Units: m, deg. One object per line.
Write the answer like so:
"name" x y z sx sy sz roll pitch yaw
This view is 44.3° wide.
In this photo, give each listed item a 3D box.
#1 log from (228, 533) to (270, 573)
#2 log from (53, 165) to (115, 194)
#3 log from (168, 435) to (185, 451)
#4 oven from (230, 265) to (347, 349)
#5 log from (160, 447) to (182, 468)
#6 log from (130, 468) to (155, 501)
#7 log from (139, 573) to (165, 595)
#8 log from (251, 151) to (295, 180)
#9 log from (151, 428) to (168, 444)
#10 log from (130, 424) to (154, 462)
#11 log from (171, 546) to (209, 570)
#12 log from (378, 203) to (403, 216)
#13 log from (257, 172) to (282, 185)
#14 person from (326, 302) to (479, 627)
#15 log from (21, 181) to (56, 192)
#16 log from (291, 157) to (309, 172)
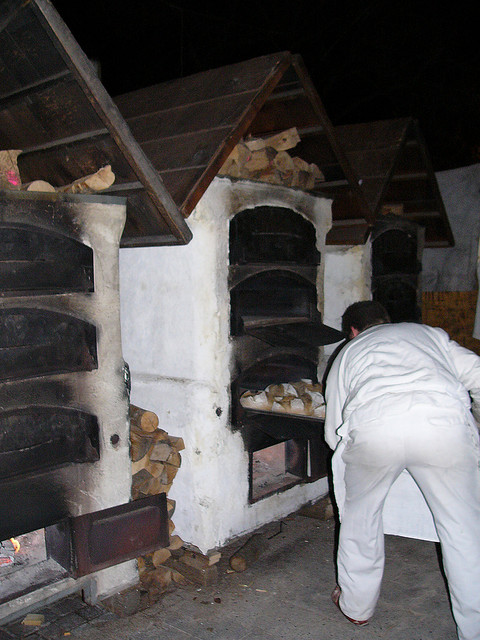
"log" 0.004 1.426 3.672 0.126 0.015 0.430 11 14 7
"log" -0.798 -0.714 3.035 0.286 0.144 0.215 -2 6 -17
"log" -0.375 0.728 3.550 0.092 0.069 0.088 18 -29 31
"oven" 0.351 -0.088 3.894 0.852 0.525 0.467 -4 10 -43
"log" -0.395 0.811 3.505 0.135 0.119 0.093 18 -10 -3
"log" -0.576 0.945 3.433 0.038 0.142 0.138 6 -18 44
"log" -0.495 1.457 3.268 0.133 0.037 0.087 13 4 8
"log" 0.198 -1.078 4.152 0.301 0.120 0.183 -25 -36 1
"log" -0.486 0.692 3.510 0.086 0.033 0.113 4 6 -2
"log" -0.579 0.711 3.417 0.198 0.170 0.151 0 5 23
"log" -0.285 1.391 3.445 0.274 0.061 0.078 4 7 40
"log" 1.539 -1.126 6.049 0.252 0.220 0.059 2 -34 0
"log" 0.216 -0.994 4.147 0.142 0.045 0.133 -1 -16 -42
"person" 0.791 0.748 2.917 0.826 1.423 0.481 3 7 29
"log" -0.971 -0.636 2.823 0.141 0.066 0.243 -3 6 -22
"log" 0.443 -1.132 4.290 0.038 0.089 0.127 -20 -14 40
